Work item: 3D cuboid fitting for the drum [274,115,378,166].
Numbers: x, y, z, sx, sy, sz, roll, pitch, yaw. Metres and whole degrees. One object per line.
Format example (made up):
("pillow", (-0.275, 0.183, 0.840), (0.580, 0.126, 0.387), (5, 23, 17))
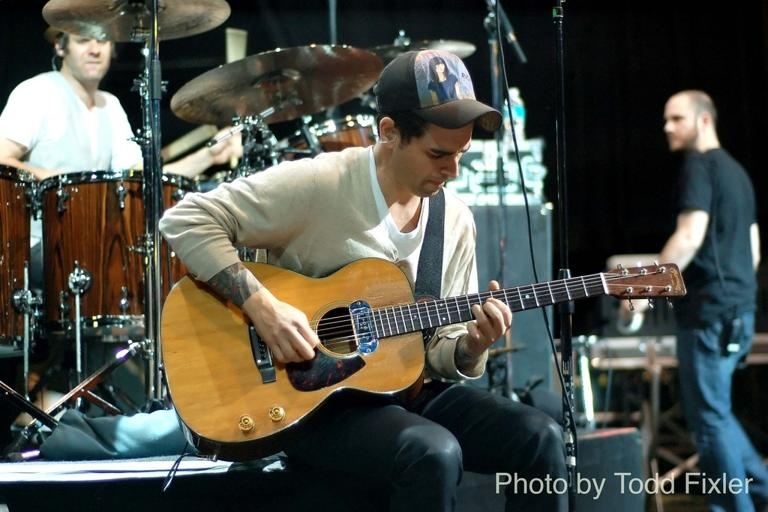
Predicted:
("drum", (-0.366, -0.850, 6.997), (0.463, 0.208, 0.486), (-16, -2, 0))

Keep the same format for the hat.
("hat", (0.297, -0.880, 5.330), (0.589, 0.347, 0.409), (8, 10, 35))

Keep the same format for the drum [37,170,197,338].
("drum", (-1.776, 0.018, 6.719), (0.953, 0.934, 0.993), (1, -3, 9))
